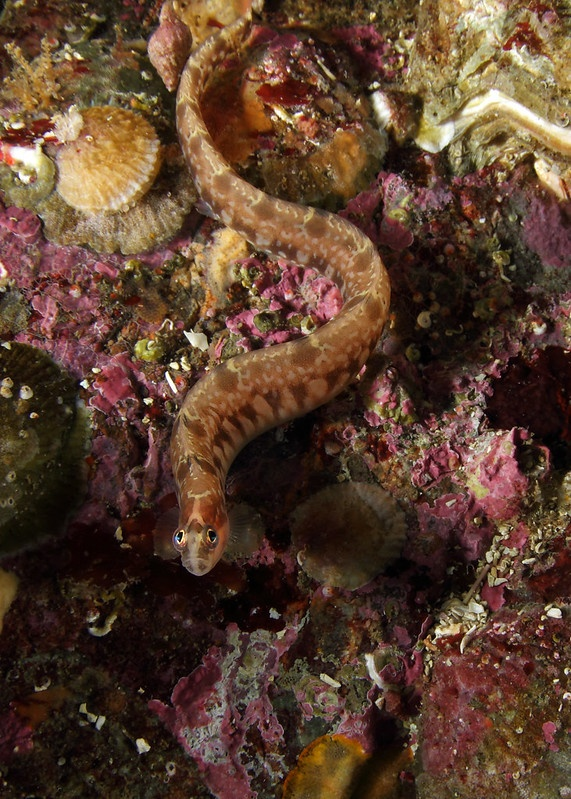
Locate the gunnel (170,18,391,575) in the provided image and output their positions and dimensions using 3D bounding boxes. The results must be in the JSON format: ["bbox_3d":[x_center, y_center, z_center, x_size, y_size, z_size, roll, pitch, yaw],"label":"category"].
[{"bbox_3d":[-0.038,-0.551,4.573,1.202,1.572,2.709,1,54,0],"label":"gunnel"}]
